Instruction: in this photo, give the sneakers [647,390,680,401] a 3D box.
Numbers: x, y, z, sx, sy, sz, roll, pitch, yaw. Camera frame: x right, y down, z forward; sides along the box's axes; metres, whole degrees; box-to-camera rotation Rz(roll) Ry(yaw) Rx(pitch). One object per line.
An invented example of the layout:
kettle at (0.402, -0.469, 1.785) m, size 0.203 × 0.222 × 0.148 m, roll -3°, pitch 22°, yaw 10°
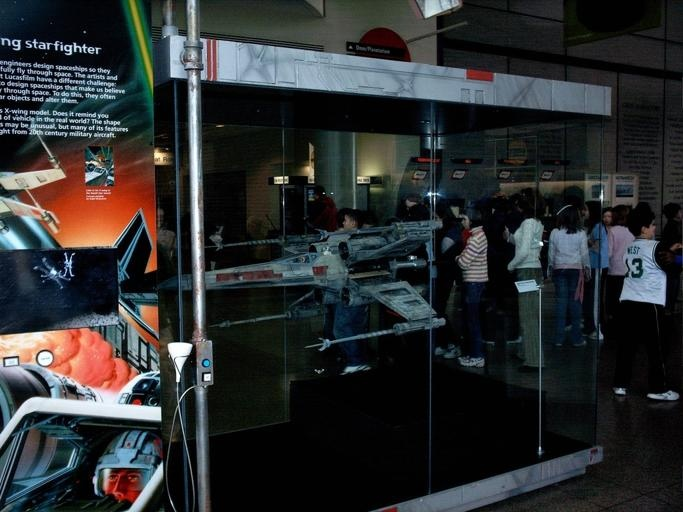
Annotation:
sneakers at (3.470, 1.522, 6.772) m, size 0.238 × 0.088 × 0.133 m, roll -5°, pitch 4°, yaw 0°
